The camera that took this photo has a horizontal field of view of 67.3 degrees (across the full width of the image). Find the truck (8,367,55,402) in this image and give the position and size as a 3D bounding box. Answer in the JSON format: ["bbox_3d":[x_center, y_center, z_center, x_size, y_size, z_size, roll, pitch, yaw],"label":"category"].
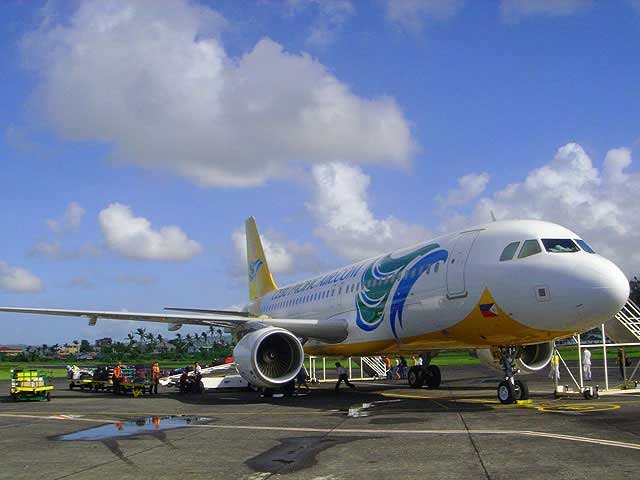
[{"bbox_3d":[-12.891,6.420,21.285,1.717,0.968,2.520,7,-18,-27],"label":"truck"}]

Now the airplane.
[{"bbox_3d":[2.387,3.151,18.692,17.666,5.814,7.585,-10,-13,35],"label":"airplane"}]
